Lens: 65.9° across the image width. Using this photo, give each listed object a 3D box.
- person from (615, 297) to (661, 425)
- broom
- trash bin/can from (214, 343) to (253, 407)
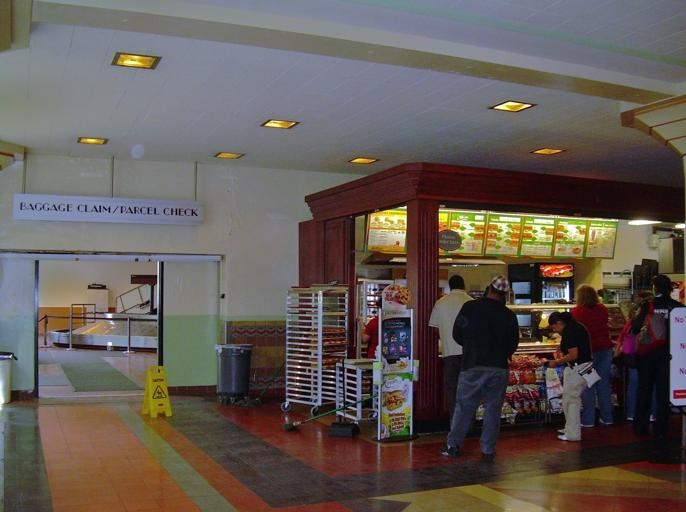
[{"bbox_3d":[4.322,1.586,7.956,0.806,1.802,0.643,5,3,31],"label":"person"},{"bbox_3d":[-0.163,2.328,7.879,1.740,0.215,0.251,-22,11,15],"label":"broom"},{"bbox_3d":[-1.964,2.111,9.452,0.600,1.020,0.313,1,-4,-11],"label":"trash bin/can"}]
